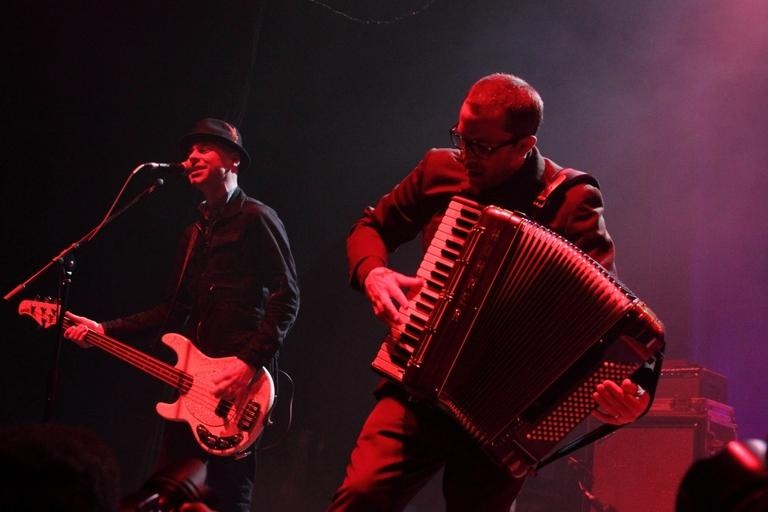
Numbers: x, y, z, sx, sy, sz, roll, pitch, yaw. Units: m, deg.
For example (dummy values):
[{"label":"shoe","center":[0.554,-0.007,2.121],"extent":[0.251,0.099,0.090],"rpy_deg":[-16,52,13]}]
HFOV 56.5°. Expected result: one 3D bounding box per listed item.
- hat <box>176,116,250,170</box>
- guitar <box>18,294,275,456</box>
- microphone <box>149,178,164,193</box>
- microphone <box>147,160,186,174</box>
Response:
[{"label":"hat","center":[-1.518,-1.115,6.639],"extent":[0.407,0.223,0.585],"rpy_deg":[-9,-33,23]},{"label":"guitar","center":[-2.101,0.792,6.407],"extent":[2.654,0.927,0.344],"rpy_deg":[31,11,23]},{"label":"microphone","center":[-2.039,-0.627,6.462],"extent":[0.116,0.103,0.377],"rpy_deg":[60,-8,-10]},{"label":"microphone","center":[-1.968,-0.803,6.491],"extent":[0.399,0.120,0.155],"rpy_deg":[-4,-10,31]}]
